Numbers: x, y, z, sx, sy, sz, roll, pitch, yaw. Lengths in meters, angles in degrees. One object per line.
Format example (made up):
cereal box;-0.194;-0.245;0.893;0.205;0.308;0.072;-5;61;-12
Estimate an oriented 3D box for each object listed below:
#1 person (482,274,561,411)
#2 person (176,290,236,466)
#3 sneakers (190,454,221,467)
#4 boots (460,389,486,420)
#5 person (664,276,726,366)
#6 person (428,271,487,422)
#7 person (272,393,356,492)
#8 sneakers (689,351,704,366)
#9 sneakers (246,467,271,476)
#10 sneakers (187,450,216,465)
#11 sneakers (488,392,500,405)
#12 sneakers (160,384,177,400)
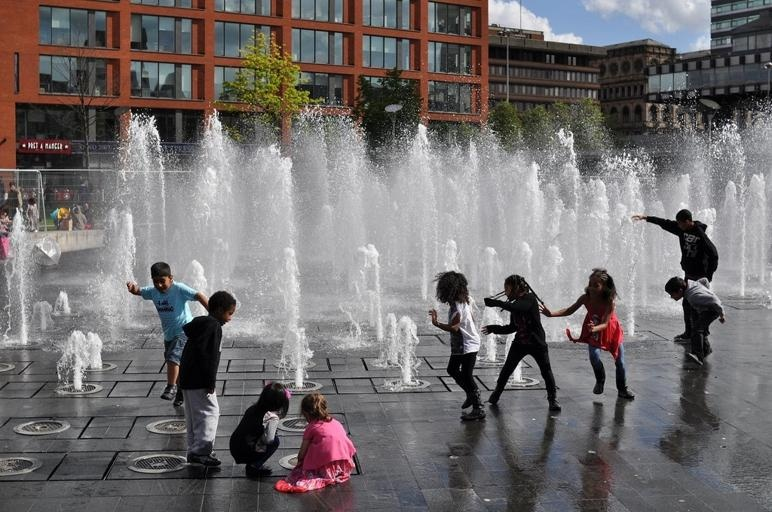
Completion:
person;1.986;1.350;11.094;1.072;1.616;1.084;13;-24;-18
person;-1.914;1.345;8.197;0.624;1.854;0.356;-5;3;-16
sneakers;-1.939;2.203;8.167;0.336;0.141;0.119;3;3;3
boots;1.095;1.900;9.456;0.374;0.401;0.237;3;-5;1
person;4.917;0.985;12.087;0.766;1.301;1.317;-2;3;20
person;0.916;1.120;9.579;0.585;1.828;0.804;-3;3;6
person;-0.697;2.000;8.079;1.038;0.909;0.854;-6;10;-36
sneakers;4.759;1.597;11.632;0.213;0.176;0.264;-2;4;22
sneakers;-1.331;2.289;7.957;0.293;0.110;0.097;-1;-1;-4
sneakers;-1.959;2.184;8.159;0.340;0.141;0.120;1;2;2
sneakers;1.390;1.866;9.875;0.116;0.187;0.188;22;-8;-1
sneakers;-2.838;1.805;9.949;0.115;0.140;0.317;22;-10;-2
